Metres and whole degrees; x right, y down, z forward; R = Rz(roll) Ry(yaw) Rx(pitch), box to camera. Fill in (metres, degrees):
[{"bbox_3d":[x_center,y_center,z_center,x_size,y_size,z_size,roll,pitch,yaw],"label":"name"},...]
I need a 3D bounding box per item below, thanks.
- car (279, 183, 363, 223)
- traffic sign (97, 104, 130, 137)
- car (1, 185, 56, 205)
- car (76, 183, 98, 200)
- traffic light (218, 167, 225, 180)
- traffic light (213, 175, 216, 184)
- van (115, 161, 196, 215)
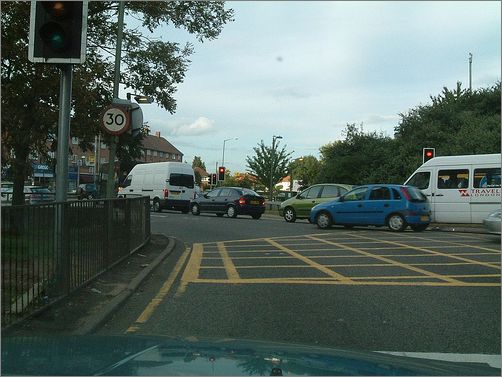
[{"bbox_3d":[2.651,0.591,22.945,2.673,1.266,1.581,1,4,38],"label":"car"},{"bbox_3d":[-3.055,-1.536,11.868,0.622,0.648,0.210,1,2,3],"label":"traffic sign"},{"bbox_3d":[-10.706,0.313,25.324,2.317,0.812,1.096,2,1,16],"label":"car"},{"bbox_3d":[-15.358,0.305,49.538,1.345,1.315,2.372,0,5,-1],"label":"car"},{"bbox_3d":[-2.126,-1.024,37.396,0.369,0.902,0.943,0,2,-12],"label":"traffic light"},{"bbox_3d":[-2.699,-0.674,38.828,0.325,0.730,1.150,0,2,-4],"label":"traffic light"},{"bbox_3d":[-5.726,-0.143,30.535,5.098,2.551,2.714,4,4,39],"label":"van"}]
